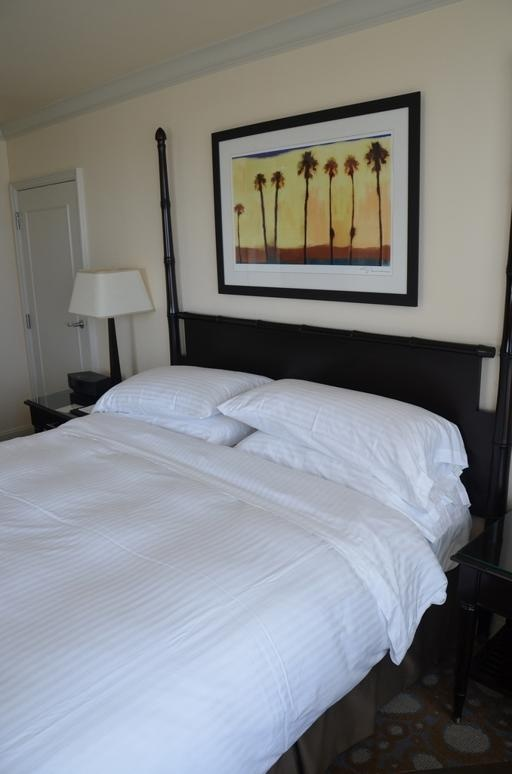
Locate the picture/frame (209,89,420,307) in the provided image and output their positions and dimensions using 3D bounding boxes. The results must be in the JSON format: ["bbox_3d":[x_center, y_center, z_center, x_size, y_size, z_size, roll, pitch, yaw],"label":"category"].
[{"bbox_3d":[0.254,-0.787,2.085,0.026,0.716,0.938,-15,19,-40],"label":"picture/frame"}]

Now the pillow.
[{"bbox_3d":[0.081,0.182,1.946,1.323,0.396,0.388,8,14,40],"label":"pillow"}]
